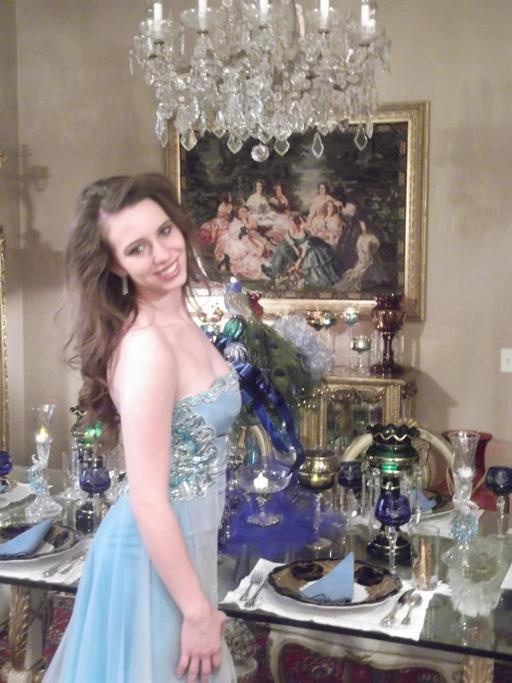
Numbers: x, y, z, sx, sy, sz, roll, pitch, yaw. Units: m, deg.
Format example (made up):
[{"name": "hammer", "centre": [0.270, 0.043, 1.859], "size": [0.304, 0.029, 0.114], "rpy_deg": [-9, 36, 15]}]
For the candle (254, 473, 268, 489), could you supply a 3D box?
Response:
[{"name": "candle", "centre": [0.010, 0.350, 1.874], "size": [0.035, 0.055, 0.005], "rpy_deg": [1, 1, 8]}]

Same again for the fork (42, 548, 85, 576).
[{"name": "fork", "centre": [-0.461, 0.522, 1.764], "size": [0.053, 0.036, 0.195], "rpy_deg": [27, -21, -13]}]

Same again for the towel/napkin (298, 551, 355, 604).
[{"name": "towel/napkin", "centre": [0.145, 0.501, 1.584], "size": [0.099, 0.112, 0.096], "rpy_deg": [21, 10, -3]}]

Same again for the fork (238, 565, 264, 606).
[{"name": "fork", "centre": [-0.016, 0.524, 1.596], "size": [0.017, 0.014, 0.092], "rpy_deg": [15, 21, 7]}]

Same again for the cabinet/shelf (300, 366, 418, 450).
[{"name": "cabinet/shelf", "centre": [0.575, 0.363, 3.972], "size": [0.537, 0.578, 0.557], "rpy_deg": [0, 1, -21]}]

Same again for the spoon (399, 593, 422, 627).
[{"name": "spoon", "centre": [0.313, 0.541, 1.530], "size": [0.021, 0.014, 0.096], "rpy_deg": [2, 16, 16]}]

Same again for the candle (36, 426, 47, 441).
[{"name": "candle", "centre": [-0.664, 0.283, 2.301], "size": [0.032, 0.033, 0.044], "rpy_deg": [1, -6, 38]}]
